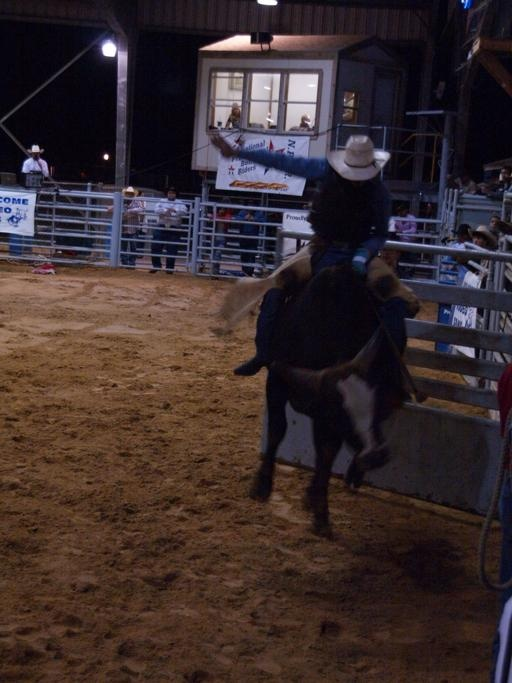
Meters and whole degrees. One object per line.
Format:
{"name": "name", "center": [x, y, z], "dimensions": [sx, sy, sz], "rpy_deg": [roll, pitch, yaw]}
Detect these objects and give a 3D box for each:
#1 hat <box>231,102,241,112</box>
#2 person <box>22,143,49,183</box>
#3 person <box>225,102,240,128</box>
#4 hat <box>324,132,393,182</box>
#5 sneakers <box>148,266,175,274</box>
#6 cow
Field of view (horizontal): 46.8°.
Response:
{"name": "hat", "center": [-0.543, -6.361, 16.007], "dimensions": [0.245, 0.092, 0.320], "rpy_deg": [-1, 31, -7]}
{"name": "person", "center": [-5.661, -4.466, 15.085], "dimensions": [0.758, 0.991, 0.640], "rpy_deg": [-6, 35, -28]}
{"name": "person", "center": [-0.602, -6.102, 16.014], "dimensions": [0.344, 0.703, 0.479], "rpy_deg": [3, 10, -15]}
{"name": "hat", "center": [0.471, -0.803, 2.714], "dimensions": [0.249, 0.105, 0.261], "rpy_deg": [-2, 51, 6]}
{"name": "sneakers", "center": [-2.300, -1.752, 14.367], "dimensions": [0.403, 0.262, 0.115], "rpy_deg": [3, 53, -11]}
{"name": "cow", "center": [0.340, 0.295, 2.790], "dimensions": [0.657, 1.402, 0.723], "rpy_deg": [10, 11, 21]}
